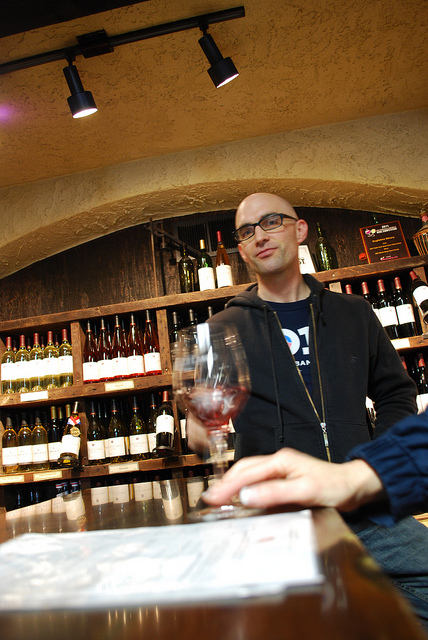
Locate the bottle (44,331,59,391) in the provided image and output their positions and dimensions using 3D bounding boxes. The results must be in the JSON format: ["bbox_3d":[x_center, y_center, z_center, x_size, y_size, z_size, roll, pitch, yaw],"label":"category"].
[{"bbox_3d":[-0.873,0.217,2.434,0.070,0.258,0.400,-7,11,-19],"label":"bottle"}]

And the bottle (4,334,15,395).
[{"bbox_3d":[-1.145,0.238,2.521,0.062,0.268,0.275,-8,12,-23],"label":"bottle"}]

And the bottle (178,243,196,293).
[{"bbox_3d":[-0.158,-0.301,2.630,0.093,0.267,0.153,-4,11,-4],"label":"bottle"}]

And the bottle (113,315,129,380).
[{"bbox_3d":[-0.493,0.123,2.394,0.088,0.283,0.356,-5,11,-12],"label":"bottle"}]

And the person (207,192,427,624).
[{"bbox_3d":[0.307,0.141,1.367,0.445,1.249,0.259,-21,-36,0],"label":"person"}]

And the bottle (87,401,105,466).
[{"bbox_3d":[-0.620,0.572,2.348,0.078,0.275,0.318,-6,11,-15],"label":"bottle"}]

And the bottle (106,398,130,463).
[{"bbox_3d":[-0.507,0.572,2.392,0.121,0.254,0.412,-6,11,-14],"label":"bottle"}]

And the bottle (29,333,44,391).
[{"bbox_3d":[-0.978,0.217,2.506,0.074,0.256,0.358,-7,12,-22],"label":"bottle"}]
